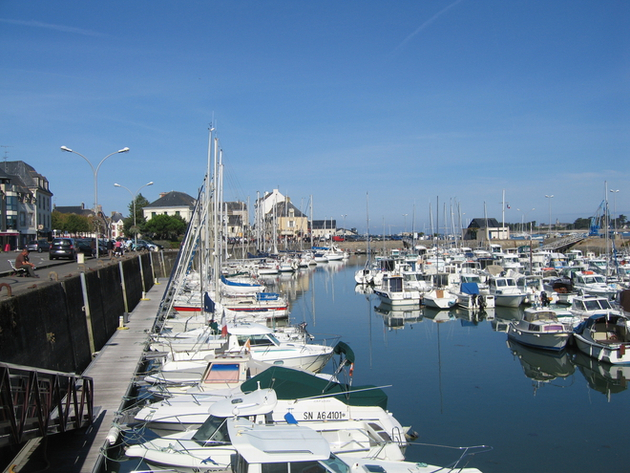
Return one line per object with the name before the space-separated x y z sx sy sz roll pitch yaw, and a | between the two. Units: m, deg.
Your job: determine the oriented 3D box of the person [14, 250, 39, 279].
person | -15.216 1.444 33.121 1.253 1.923 0.657 -4 16 -20
